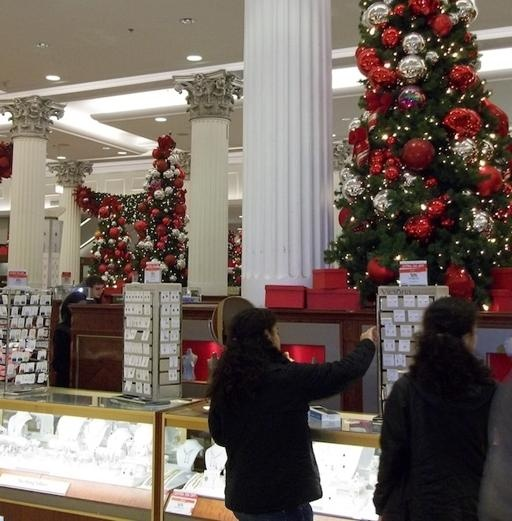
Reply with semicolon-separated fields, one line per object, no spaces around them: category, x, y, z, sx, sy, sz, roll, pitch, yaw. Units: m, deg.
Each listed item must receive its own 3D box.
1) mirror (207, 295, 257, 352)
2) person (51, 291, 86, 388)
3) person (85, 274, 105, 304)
mirror;-0.123;0.313;2.675;0.206;0.275;0.247;3;-1;-3
person;-1.997;0.824;5.559;0.330;1.020;0.783;0;-4;-18
person;-2.107;0.376;6.755;0.214;0.355;0.804;0;-3;-18
